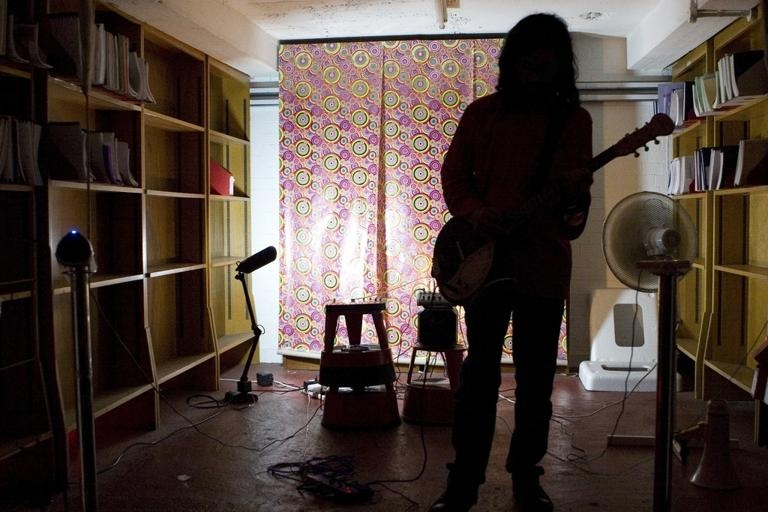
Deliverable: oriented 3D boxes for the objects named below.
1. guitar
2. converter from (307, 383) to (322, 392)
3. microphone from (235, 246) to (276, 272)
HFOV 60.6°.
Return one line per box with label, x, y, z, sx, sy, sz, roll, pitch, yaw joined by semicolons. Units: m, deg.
guitar;0.787;-0.282;3.528;1.145;0.994;0.892;3;6;-3
converter;-0.570;1.065;5.333;0.131;0.050;0.170;0;0;-6
microphone;-1.074;0.026;5.381;0.352;0.086;0.161;-25;-40;-3
